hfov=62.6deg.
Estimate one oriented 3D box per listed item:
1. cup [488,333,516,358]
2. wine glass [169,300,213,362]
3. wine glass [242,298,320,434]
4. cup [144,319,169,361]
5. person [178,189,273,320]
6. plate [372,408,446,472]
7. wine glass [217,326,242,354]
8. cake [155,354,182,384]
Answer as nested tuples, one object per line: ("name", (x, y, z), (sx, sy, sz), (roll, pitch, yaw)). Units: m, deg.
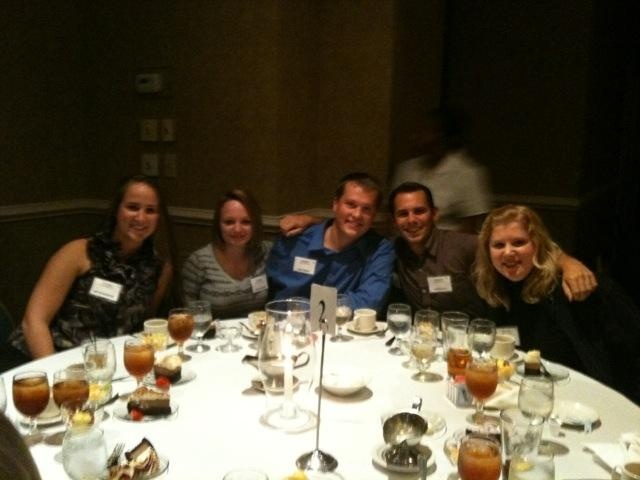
("cup", (0.747, 0.434, 2.169), (0.089, 0.083, 0.104), (0, -1, 1))
("wine glass", (-0.540, 0.388, 2.234), (0.195, 0.298, 0.206), (0, 2, -3))
("wine glass", (-0.131, 0.407, 1.844), (0.217, 0.378, 0.369), (-1, 14, -6))
("cup", (-0.659, 0.420, 2.198), (0.124, 0.137, 0.129), (2, 15, -1))
("person", (-0.565, 0.093, 3.114), (0.485, 0.745, 0.211), (-3, 14, -13))
("plate", (0.276, 0.614, 1.615), (0.240, 0.123, 0.148), (-6, 15, -24))
("wine glass", (-0.400, 0.454, 2.329), (0.080, 0.063, 0.087), (1, 0, -4))
("cake", (-0.574, 0.482, 2.001), (0.095, 0.043, 0.094), (19, 34, 20))
